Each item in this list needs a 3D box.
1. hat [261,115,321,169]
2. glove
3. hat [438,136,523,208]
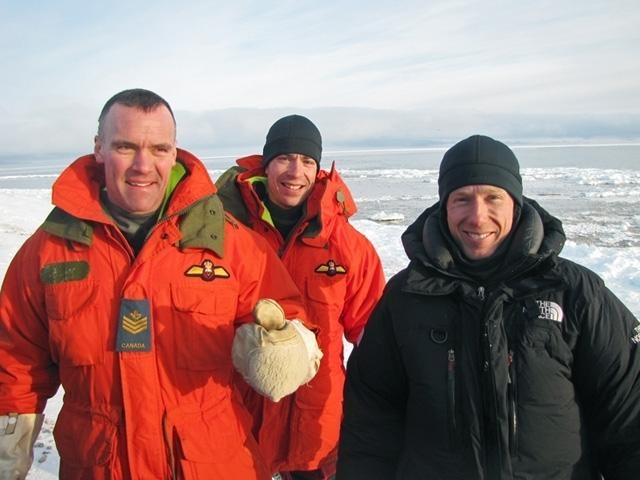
[{"bbox_3d":[-0.218,-0.803,4.809,0.447,0.406,0.473,3,4,35],"label":"hat"},{"bbox_3d":[-0.229,0.599,3.415,0.417,0.537,0.281,-8,-12,-40],"label":"glove"},{"bbox_3d":[0.905,-0.397,3.453,0.471,0.377,0.468,2,0,-2],"label":"hat"}]
